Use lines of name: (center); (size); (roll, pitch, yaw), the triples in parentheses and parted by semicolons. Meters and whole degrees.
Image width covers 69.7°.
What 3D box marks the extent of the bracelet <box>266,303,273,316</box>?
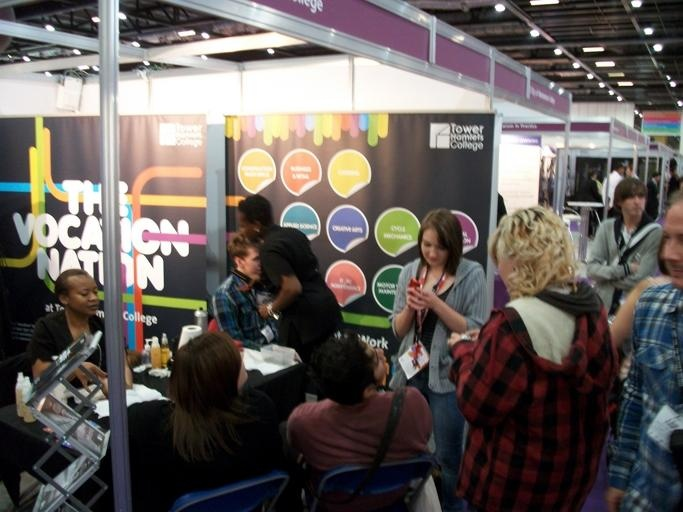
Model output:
bracelet: (-0.500, 0.380, 3.431); (0.021, 0.066, 0.060); (1, 5, -22)

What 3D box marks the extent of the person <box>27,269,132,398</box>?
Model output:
person: (-1.507, 0.566, 2.840); (0.491, 0.969, 0.561); (0, -5, -33)
